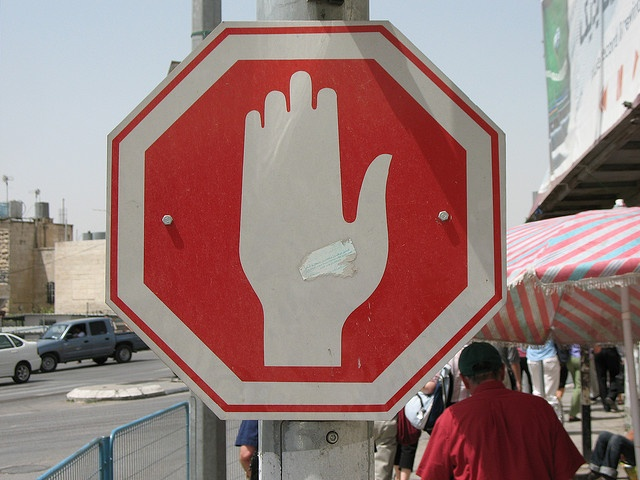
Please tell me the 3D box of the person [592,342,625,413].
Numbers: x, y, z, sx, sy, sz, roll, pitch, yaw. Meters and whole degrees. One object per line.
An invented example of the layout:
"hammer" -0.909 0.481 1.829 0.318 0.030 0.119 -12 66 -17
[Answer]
"person" 5.730 2.752 23.740 0.574 1.271 1.263 -1 -3 13
